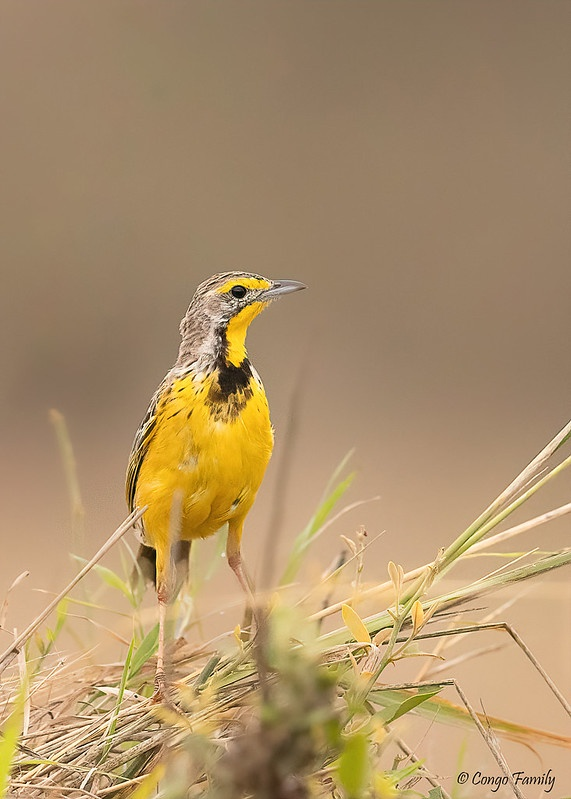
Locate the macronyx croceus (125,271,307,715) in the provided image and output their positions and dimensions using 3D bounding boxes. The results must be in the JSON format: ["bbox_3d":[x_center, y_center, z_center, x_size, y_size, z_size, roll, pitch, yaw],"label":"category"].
[{"bbox_3d":[-0.206,0.087,2.404,0.399,0.977,0.411,12,-36,-15],"label":"macronyx croceus"}]
